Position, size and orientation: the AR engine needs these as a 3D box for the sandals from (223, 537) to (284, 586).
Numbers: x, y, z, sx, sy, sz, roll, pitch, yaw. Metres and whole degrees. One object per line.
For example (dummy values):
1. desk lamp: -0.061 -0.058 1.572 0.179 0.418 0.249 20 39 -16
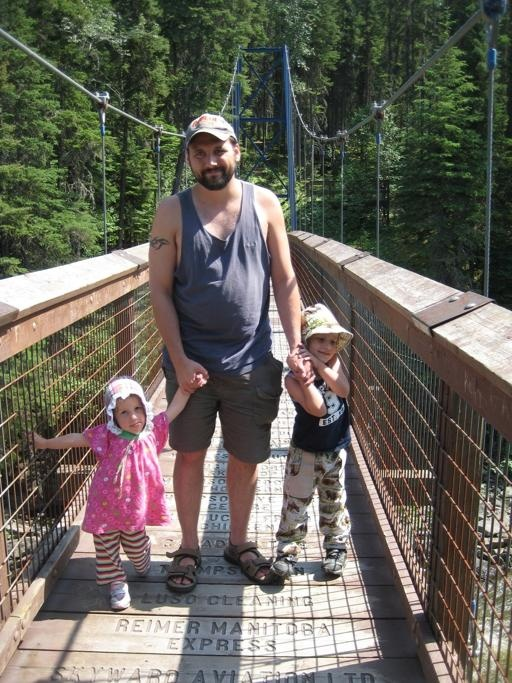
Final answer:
1. sandals: 0.004 0.741 1.787 0.078 0.068 0.217 -9 7 -32

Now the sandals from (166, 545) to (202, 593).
1. sandals: -0.242 0.758 1.769 0.099 0.095 0.306 1 -5 -1

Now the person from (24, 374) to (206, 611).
1. person: -0.415 0.433 1.603 0.498 0.743 0.243 -2 10 -28

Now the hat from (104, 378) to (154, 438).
1. hat: -0.386 0.193 1.584 0.143 0.168 0.149 0 2 -15

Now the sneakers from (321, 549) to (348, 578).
1. sneakers: 0.276 0.750 1.795 0.078 0.089 0.119 1 2 11

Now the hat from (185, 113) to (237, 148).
1. hat: -0.139 -0.651 1.587 0.100 0.074 0.140 -13 -7 6
